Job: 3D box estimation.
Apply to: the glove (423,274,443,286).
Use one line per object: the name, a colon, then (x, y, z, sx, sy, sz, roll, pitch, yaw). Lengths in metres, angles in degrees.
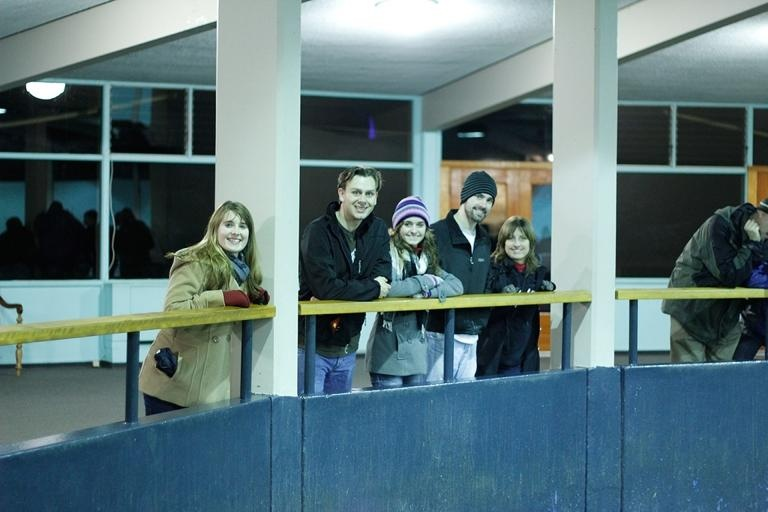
glove: (0.393, 0.187, 8.021, 0.175, 0.081, 0.078, 1, 0, -35)

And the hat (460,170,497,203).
hat: (0.815, -0.564, 8.478, 0.263, 0.289, 0.228, 10, 3, 40)

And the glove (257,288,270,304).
glove: (-0.889, 0.296, 7.581, 0.070, 0.114, 0.105, 0, -14, -2)

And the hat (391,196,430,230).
hat: (0.223, -0.348, 8.268, 0.204, 0.279, 0.279, 2, -6, -1)
